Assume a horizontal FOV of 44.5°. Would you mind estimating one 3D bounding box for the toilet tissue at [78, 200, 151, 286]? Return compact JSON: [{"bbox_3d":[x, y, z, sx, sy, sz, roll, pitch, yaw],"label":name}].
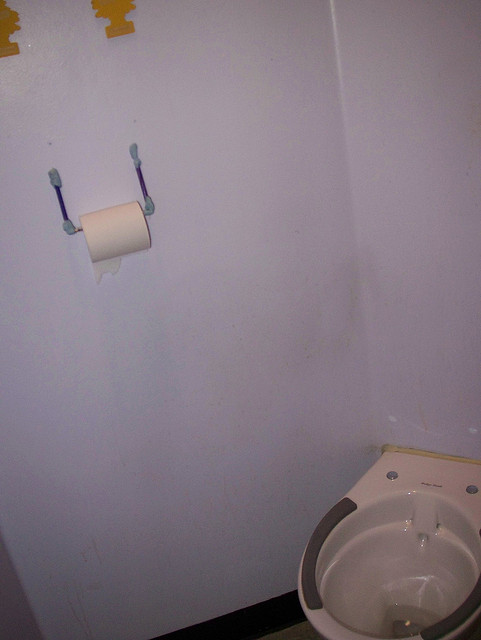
[{"bbox_3d":[-0.266,-0.166,1.209,0.137,0.099,0.145,-23,-18,-18],"label":"toilet tissue"}]
